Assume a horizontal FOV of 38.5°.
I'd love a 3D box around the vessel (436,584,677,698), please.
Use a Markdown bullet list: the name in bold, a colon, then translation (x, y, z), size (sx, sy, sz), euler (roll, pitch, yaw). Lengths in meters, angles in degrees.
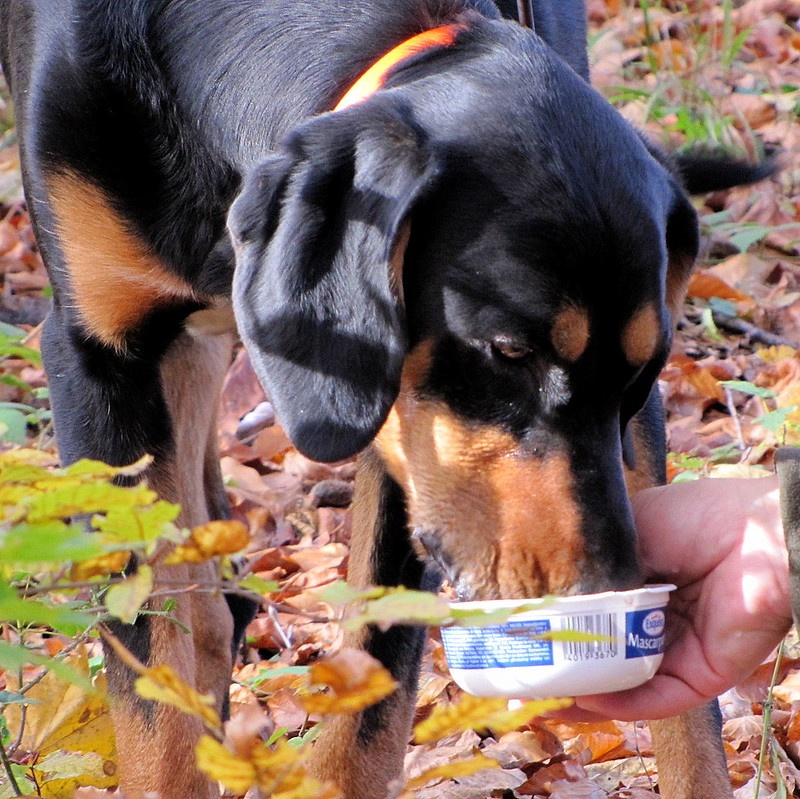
- **vessel**: translation (0.262, 0.429, 1.891), size (0.431, 0.349, 0.116), euler (-4, 70, 5)
